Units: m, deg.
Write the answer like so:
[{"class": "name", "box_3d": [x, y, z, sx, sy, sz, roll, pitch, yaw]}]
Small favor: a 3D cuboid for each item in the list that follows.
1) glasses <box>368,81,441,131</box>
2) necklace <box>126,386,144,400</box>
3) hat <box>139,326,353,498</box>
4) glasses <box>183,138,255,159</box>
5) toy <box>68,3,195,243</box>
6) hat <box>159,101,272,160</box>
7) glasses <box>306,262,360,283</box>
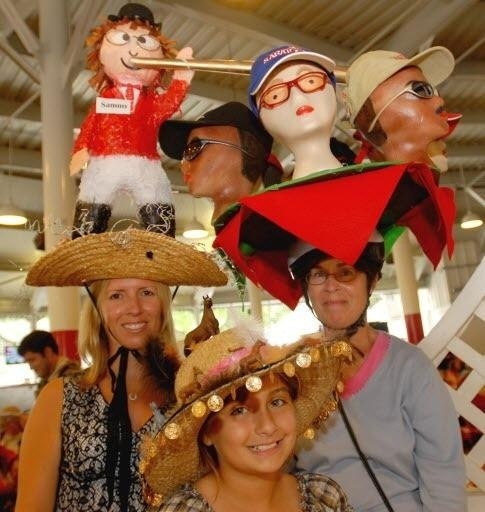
[{"class": "glasses", "box_3d": [0.500, -0.445, 1.723, 0.182, 0.047, 0.144, -26, 3, 17]}, {"class": "necklace", "box_3d": [-0.355, 0.451, 1.814, 0.045, 0.009, 0.040, 14, 23, 30]}, {"class": "hat", "box_3d": [0.033, 0.411, 1.433, 0.576, 0.463, 0.366, 1, -2, -15]}, {"class": "glasses", "box_3d": [-0.097, -0.369, 1.911, 0.153, 0.033, 0.107, 2, -1, 2]}, {"class": "toy", "box_3d": [-0.388, -0.467, 1.920, 0.392, 0.805, 0.288, 1, -3, -17]}, {"class": "hat", "box_3d": [-0.111, -0.448, 1.994, 0.394, 0.167, 0.223, 10, -11, 3]}, {"class": "glasses", "box_3d": [0.273, 0.056, 1.678, 0.094, 0.075, 0.026, -3, 34, 9]}]
